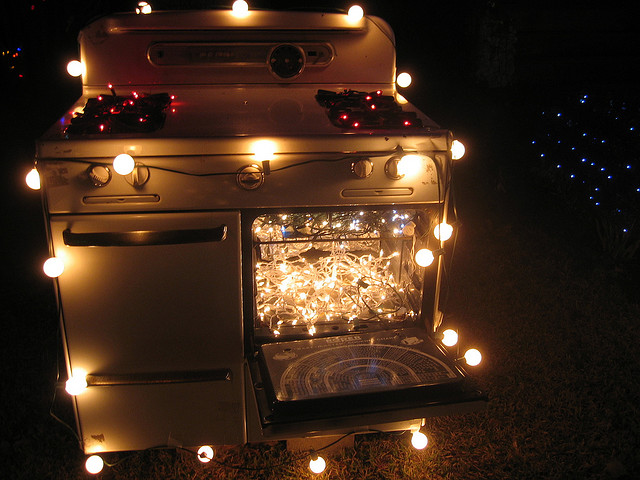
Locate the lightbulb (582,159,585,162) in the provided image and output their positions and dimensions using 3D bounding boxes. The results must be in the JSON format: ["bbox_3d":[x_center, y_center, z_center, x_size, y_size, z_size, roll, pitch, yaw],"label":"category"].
[{"bbox_3d":[1.850,-0.563,4.113,0.012,0.014,0.021,-2,-53,6],"label":"lightbulb"}]

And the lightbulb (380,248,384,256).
[{"bbox_3d":[0.308,0.054,2.922,0.025,0.036,0.013,0,-67,1],"label":"lightbulb"}]

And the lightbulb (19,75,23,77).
[{"bbox_3d":[-1.542,-0.843,3.019,0.014,0.006,0.010,2,-35,-26],"label":"lightbulb"}]

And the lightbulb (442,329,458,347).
[{"bbox_3d":[0.576,0.426,2.590,0.061,0.034,0.063,4,-83,3],"label":"lightbulb"}]

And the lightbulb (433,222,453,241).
[{"bbox_3d":[0.529,-0.039,2.499,0.073,0.087,0.074,3,-37,0],"label":"lightbulb"}]

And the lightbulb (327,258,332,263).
[{"bbox_3d":[0.044,0.094,2.799,0.017,0.013,0.012,-7,-69,-20],"label":"lightbulb"}]

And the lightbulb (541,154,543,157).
[{"bbox_3d":[1.633,-0.623,4.307,0.012,0.012,0.017,-4,-54,3],"label":"lightbulb"}]

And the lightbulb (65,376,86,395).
[{"bbox_3d":[-1.038,0.604,2.485,0.070,0.063,0.066,-25,-32,17],"label":"lightbulb"}]

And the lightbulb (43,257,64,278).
[{"bbox_3d":[-1.065,0.106,2.342,0.072,0.073,0.084,3,-72,-15],"label":"lightbulb"}]

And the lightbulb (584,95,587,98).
[{"bbox_3d":[1.807,-0.976,3.986,0.009,0.011,0.017,0,-57,8],"label":"lightbulb"}]

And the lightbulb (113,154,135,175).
[{"bbox_3d":[-0.756,-0.293,2.253,0.070,0.071,0.083,4,-78,-7],"label":"lightbulb"}]

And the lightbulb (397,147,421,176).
[{"bbox_3d":[0.368,-0.326,2.418,0.099,0.084,0.093,-9,-31,-9],"label":"lightbulb"}]

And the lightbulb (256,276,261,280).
[{"bbox_3d":[-0.289,0.178,2.759,0.024,0.013,0.017,-6,-65,-48],"label":"lightbulb"}]

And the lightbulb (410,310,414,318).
[{"bbox_3d":[0.423,0.332,2.689,0.020,0.020,0.037,0,-75,9],"label":"lightbulb"}]

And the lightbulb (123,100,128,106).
[{"bbox_3d":[-0.868,-0.608,2.610,0.021,0.009,0.029,-2,-9,-15],"label":"lightbulb"}]

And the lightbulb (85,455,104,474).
[{"bbox_3d":[-1.011,0.996,2.631,0.074,0.075,0.095,-1,-33,-21],"label":"lightbulb"}]

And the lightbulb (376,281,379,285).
[{"bbox_3d":[0.275,0.204,2.825,0.012,0.012,0.023,1,-64,0],"label":"lightbulb"}]
